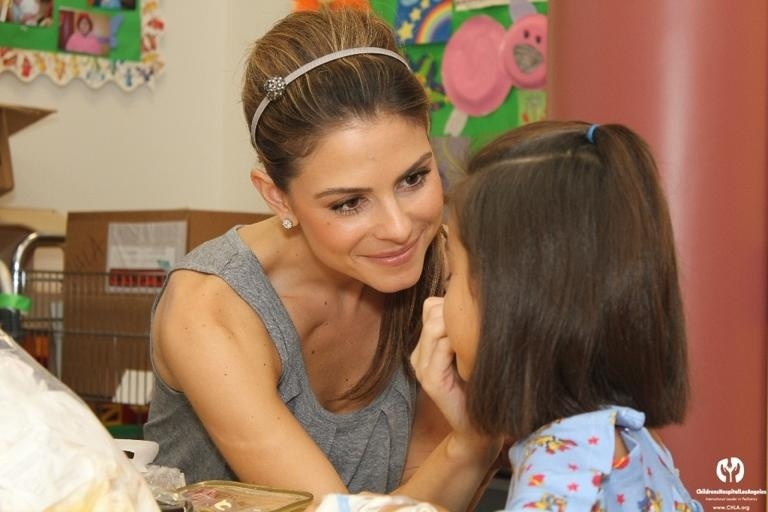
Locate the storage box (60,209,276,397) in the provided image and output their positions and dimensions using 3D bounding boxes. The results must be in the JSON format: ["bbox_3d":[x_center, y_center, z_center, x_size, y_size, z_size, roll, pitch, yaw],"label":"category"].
[{"bbox_3d":[-0.744,0.224,2.639,0.716,0.589,0.737,4,-5,35],"label":"storage box"}]

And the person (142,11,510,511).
[{"bbox_3d":[-0.158,0.007,1.626,0.675,1.070,0.515,-1,1,-17],"label":"person"}]
